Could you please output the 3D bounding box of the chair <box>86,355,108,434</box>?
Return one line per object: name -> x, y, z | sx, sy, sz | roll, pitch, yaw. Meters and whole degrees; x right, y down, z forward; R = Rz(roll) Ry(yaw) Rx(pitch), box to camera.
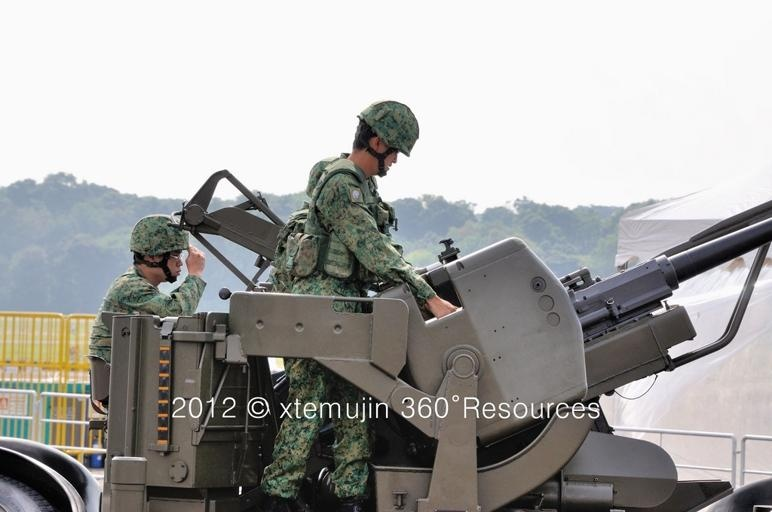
chair -> -4.024, 1.820, 17.670 | 0.257, 0.778, 0.514 | 1, -16, -13
